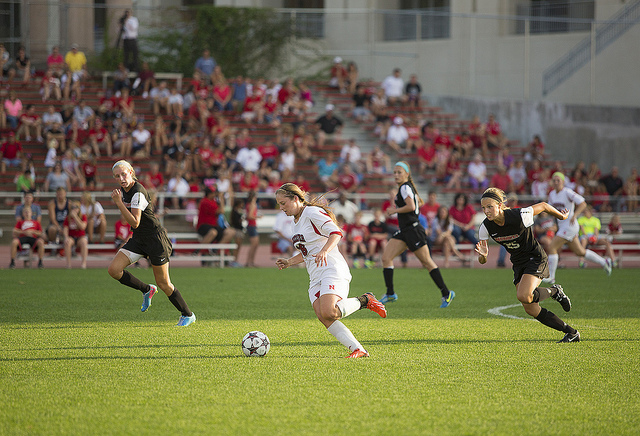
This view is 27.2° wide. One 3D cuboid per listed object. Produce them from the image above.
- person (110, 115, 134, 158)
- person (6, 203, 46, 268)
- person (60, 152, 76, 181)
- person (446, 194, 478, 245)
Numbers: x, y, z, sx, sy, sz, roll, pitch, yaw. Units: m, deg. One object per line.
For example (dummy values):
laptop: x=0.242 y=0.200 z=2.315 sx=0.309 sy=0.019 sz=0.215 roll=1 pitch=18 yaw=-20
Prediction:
person: x=-7.543 y=-3.073 z=51.049 sx=0.861 sy=1.530 sz=0.952 roll=1 pitch=4 yaw=1
person: x=-9.922 y=0.612 z=44.935 sx=1.234 sy=2.207 sz=0.834 roll=-1 pitch=4 yaw=-18
person: x=-9.260 y=-1.900 z=48.768 sx=0.485 sy=1.000 sz=0.801 roll=-1 pitch=4 yaw=-21
person: x=5.126 y=0.241 z=47.581 sx=0.987 sy=2.147 sz=1.221 roll=-6 pitch=20 yaw=10
